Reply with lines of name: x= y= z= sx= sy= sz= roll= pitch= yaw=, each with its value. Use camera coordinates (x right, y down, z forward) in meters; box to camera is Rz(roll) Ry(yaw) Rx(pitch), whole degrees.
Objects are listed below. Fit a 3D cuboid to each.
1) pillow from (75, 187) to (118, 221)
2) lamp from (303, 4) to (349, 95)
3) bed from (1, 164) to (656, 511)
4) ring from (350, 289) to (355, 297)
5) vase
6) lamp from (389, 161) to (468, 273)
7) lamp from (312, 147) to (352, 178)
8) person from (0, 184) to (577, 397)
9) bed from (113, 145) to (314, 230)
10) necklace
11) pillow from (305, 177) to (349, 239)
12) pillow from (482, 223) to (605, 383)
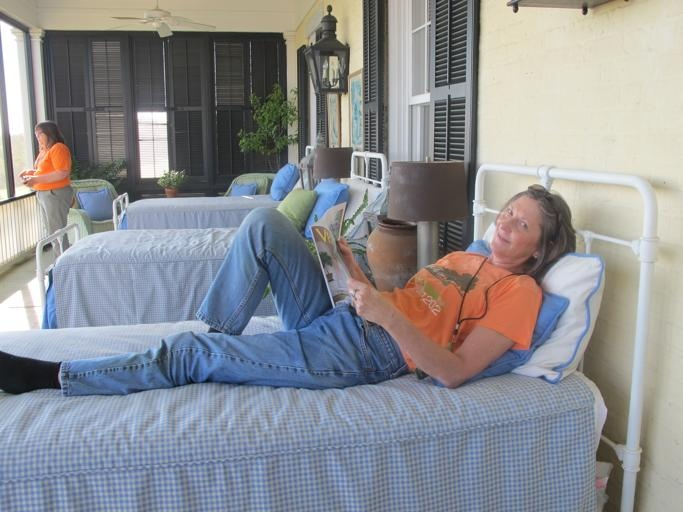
pillow: x=-2.738 y=-0.575 z=5.662 sx=0.371 sy=0.429 sz=0.143 roll=-18 pitch=-3 yaw=-44
lamp: x=-0.130 y=-1.913 z=4.664 sx=0.389 sy=0.780 sz=0.662 roll=-3 pitch=13 yaw=-2
bed: x=-0.003 y=0.302 z=1.973 sx=1.462 sy=1.289 sz=1.753 roll=0 pitch=10 yaw=-10
ring: x=0.043 y=0.128 z=1.736 sx=0.005 sy=0.022 sz=0.015 roll=4 pitch=-5 yaw=-30
vase: x=0.315 y=0.016 z=2.932 sx=0.333 sy=0.449 sz=0.361 roll=1 pitch=7 yaw=9
lamp: x=0.416 y=-0.219 z=2.632 sx=0.466 sy=0.740 sz=0.481 roll=-1 pitch=12 yaw=1
lamp: x=-0.074 y=-0.827 z=4.622 sx=0.285 sy=0.232 sz=0.299 roll=6 pitch=11 yaw=31
person: x=-0.150 y=0.181 z=2.051 sx=2.132 sy=0.825 sz=0.857 roll=0 pitch=7 yaw=1
bed: x=-1.367 y=-0.554 z=5.628 sx=1.929 sy=0.870 sz=1.210 roll=0 pitch=16 yaw=-2
necklace: x=0.521 y=0.159 z=1.882 sx=0.133 sy=0.417 sz=0.023 roll=15 pitch=-24 yaw=41
pillow: x=-0.100 y=-0.432 z=4.275 sx=0.154 sy=0.538 sz=0.537 roll=18 pitch=-2 yaw=-17
pillow: x=0.710 y=0.163 z=1.744 sx=0.116 sy=0.411 sz=0.378 roll=24 pitch=-9 yaw=-20
